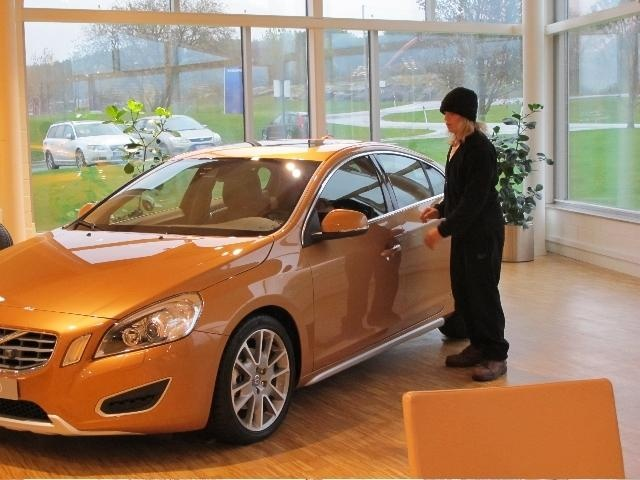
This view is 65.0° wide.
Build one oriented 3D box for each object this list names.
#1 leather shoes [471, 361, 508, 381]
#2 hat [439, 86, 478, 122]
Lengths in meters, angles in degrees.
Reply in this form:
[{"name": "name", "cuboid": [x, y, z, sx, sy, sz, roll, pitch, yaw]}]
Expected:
[{"name": "leather shoes", "cuboid": [1.151, 0.882, 3.421, 0.277, 0.094, 0.103, -1, 3, -44]}, {"name": "hat", "cuboid": [0.919, -0.893, 3.318, 0.225, 0.227, 0.169, 5, 13, 14]}]
